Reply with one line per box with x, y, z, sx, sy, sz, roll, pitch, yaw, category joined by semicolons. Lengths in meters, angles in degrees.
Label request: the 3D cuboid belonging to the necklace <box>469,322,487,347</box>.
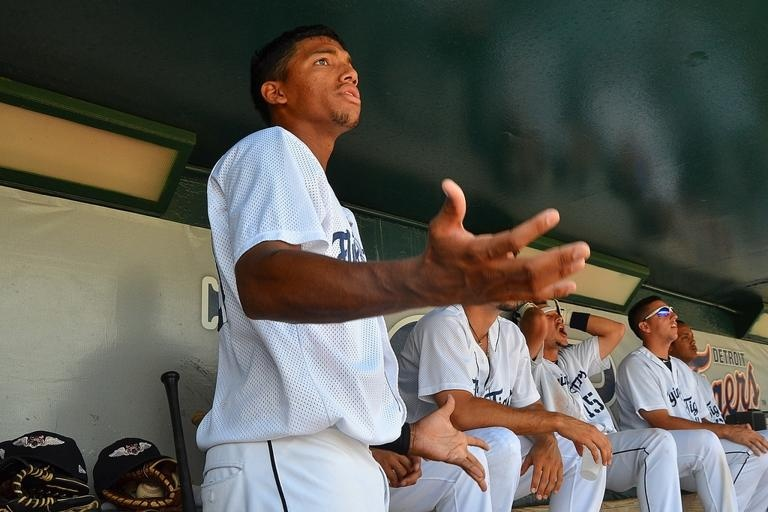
0.546;0.455;3.987;0.095;0.150;0.034;-14;6;-30;necklace

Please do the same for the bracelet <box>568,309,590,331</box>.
1.690;0.555;5.907;0.055;0.157;0.154;14;-4;-27;bracelet

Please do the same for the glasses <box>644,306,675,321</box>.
2.254;0.471;5.590;0.171;0.052;0.145;-29;-17;15;glasses

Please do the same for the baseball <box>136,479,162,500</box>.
-1.267;1.273;3.680;0.084;0.077;0.087;-4;-19;14;baseball
